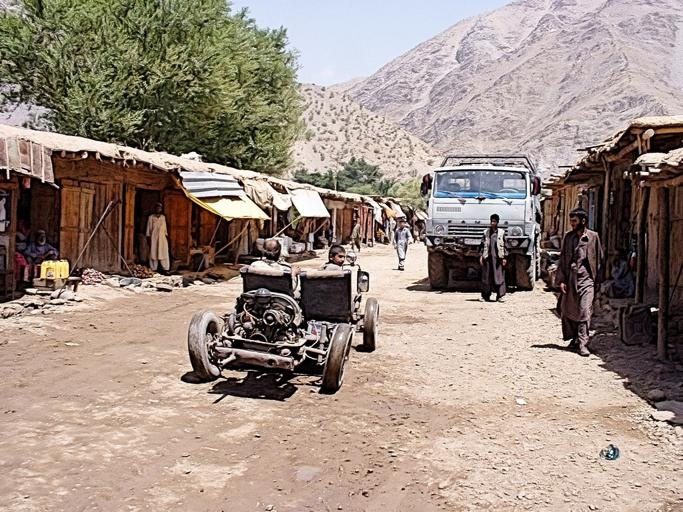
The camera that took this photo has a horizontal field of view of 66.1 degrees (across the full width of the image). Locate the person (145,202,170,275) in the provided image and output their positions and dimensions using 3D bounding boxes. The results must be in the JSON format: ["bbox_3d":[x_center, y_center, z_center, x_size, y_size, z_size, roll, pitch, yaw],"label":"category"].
[{"bbox_3d":[-5.566,-0.500,15.742,0.423,2.107,0.618,4,9,18],"label":"person"}]

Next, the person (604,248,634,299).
[{"bbox_3d":[6.547,0.330,12.278,0.561,1.054,2.126,5,8,26],"label":"person"}]

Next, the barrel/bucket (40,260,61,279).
[{"bbox_3d":[-6.630,0.279,11.850,0.463,0.395,0.368,2,5,5],"label":"barrel/bucket"}]

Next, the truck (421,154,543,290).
[{"bbox_3d":[4.354,-1.031,16.208,2.789,2.978,4.965,-1,-3,15],"label":"truck"}]

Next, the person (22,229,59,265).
[{"bbox_3d":[-7.169,-0.231,12.470,0.471,0.722,0.730,6,9,32],"label":"person"}]

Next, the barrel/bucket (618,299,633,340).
[{"bbox_3d":[4.948,1.113,9.130,0.173,0.565,0.457,5,-9,15],"label":"barrel/bucket"}]

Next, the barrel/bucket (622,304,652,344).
[{"bbox_3d":[4.968,1.151,8.785,0.541,0.661,0.476,7,-17,-6],"label":"barrel/bucket"}]

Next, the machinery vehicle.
[{"bbox_3d":[-0.574,0.840,7.717,2.120,1.319,3.216,3,5,17],"label":"machinery vehicle"}]

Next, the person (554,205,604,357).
[{"bbox_3d":[3.858,0.404,8.551,0.657,2.298,0.649,5,9,25],"label":"person"}]

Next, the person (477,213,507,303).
[{"bbox_3d":[3.857,0.040,13.292,0.634,2.172,0.643,4,9,17],"label":"person"}]
